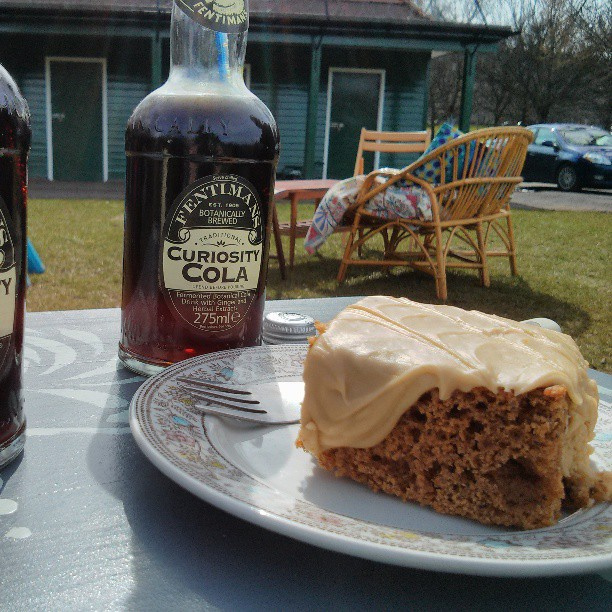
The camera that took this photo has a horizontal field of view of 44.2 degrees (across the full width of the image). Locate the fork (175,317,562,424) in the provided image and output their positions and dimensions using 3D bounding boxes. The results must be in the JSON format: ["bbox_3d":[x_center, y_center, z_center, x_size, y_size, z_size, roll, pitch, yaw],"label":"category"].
[{"bbox_3d":[0.063,0.069,0.770,0.395,0.099,0.068,-4,12,-22],"label":"fork"}]

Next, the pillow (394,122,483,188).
[{"bbox_3d":[0.738,-0.845,4.188,0.380,0.380,0.398,-1,11,-28],"label":"pillow"}]

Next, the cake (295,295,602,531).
[{"bbox_3d":[0.145,0.069,0.758,0.226,0.152,0.200,7,21,14],"label":"cake"}]
